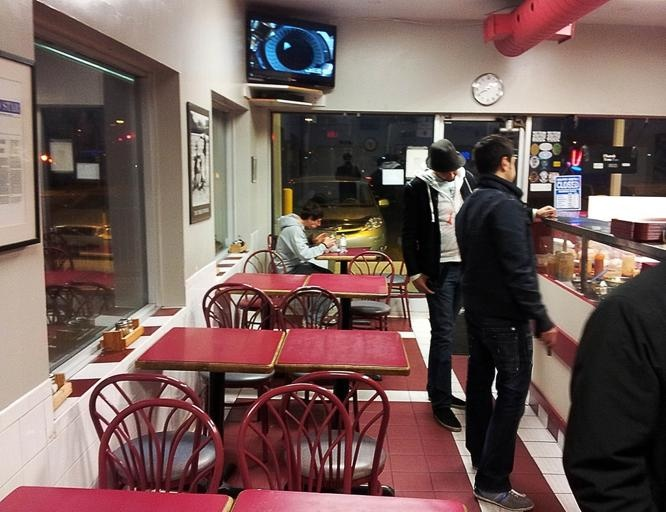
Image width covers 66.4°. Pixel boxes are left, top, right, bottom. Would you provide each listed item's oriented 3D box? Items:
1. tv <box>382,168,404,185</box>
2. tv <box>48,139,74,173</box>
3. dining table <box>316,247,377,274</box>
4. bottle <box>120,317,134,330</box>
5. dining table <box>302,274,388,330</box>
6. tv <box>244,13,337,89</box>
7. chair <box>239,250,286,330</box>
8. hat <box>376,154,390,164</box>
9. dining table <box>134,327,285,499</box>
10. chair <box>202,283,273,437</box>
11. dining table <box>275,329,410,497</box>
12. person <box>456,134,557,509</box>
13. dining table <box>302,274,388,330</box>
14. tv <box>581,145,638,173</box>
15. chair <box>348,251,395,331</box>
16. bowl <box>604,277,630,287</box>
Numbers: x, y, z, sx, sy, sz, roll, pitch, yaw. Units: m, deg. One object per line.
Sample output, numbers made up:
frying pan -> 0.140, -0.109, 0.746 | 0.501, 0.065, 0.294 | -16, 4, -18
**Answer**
tv -> 0.729, -0.990, 6.288 | 0.234, 0.146, 0.029 | 0, 6, -1
tv -> -1.338, -0.487, 2.492 | 0.142, 0.133, 0.143 | 4, 1, 35
dining table -> 0.109, 0.050, 5.921 | 0.425, 0.350, 0.394 | -1, 6, 2
bottle -> -1.173, 0.388, 2.879 | 0.056, 0.073, 0.084 | 4, 1, 39
dining table -> 0.128, 0.280, 4.180 | 0.573, 0.472, 0.528 | 1, 15, 3
tv -> -0.492, -2.162, 5.416 | 1.097, 0.580, 0.103 | 0, 9, -21
chair -> -0.612, 0.332, 5.030 | 0.636, 0.844, 0.663 | 1, -8, 1
hat -> 0.618, -1.180, 6.258 | 0.166, 0.130, 0.083 | -1, 0, 1
dining table -> -0.633, 0.814, 2.833 | 0.718, 0.610, 0.663 | 1, 9, 2
chair -> -0.663, 0.652, 3.518 | 0.562, 0.835, 0.609 | 4, 20, -5
dining table -> 0.066, 0.808, 2.832 | 0.719, 0.595, 0.665 | 0, 4, 1
person -> 0.919, 0.354, 2.768 | 0.353, 1.984, 0.559 | -2, 12, -9
dining table -> 0.111, 0.277, 4.174 | 0.573, 0.472, 0.528 | 1, 15, 3
tv -> 3.335, -1.146, 6.106 | 0.634, 0.322, 0.073 | 0, 12, -3
chair -> 0.344, 0.454, 4.930 | 0.514, 0.866, 0.587 | 2, 15, -5
bowl -> 1.311, 0.118, 2.344 | 0.134, 0.038, 0.124 | -1, -1, 0
